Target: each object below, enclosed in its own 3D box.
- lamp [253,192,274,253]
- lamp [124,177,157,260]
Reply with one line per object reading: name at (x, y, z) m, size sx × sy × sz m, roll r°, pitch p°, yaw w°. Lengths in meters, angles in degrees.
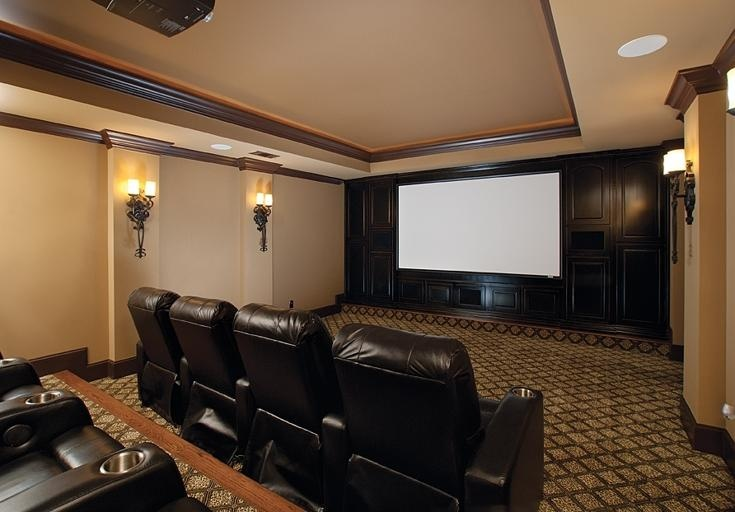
lamp at (-1.503, -0.500, 6.808) m, size 0.167 × 0.858 × 0.359 m, roll 5°, pitch 11°, yaw 24°
lamp at (-2.580, -0.433, 5.346) m, size 0.364 × 0.897 × 0.170 m, roll -8°, pitch 13°, yaw -39°
